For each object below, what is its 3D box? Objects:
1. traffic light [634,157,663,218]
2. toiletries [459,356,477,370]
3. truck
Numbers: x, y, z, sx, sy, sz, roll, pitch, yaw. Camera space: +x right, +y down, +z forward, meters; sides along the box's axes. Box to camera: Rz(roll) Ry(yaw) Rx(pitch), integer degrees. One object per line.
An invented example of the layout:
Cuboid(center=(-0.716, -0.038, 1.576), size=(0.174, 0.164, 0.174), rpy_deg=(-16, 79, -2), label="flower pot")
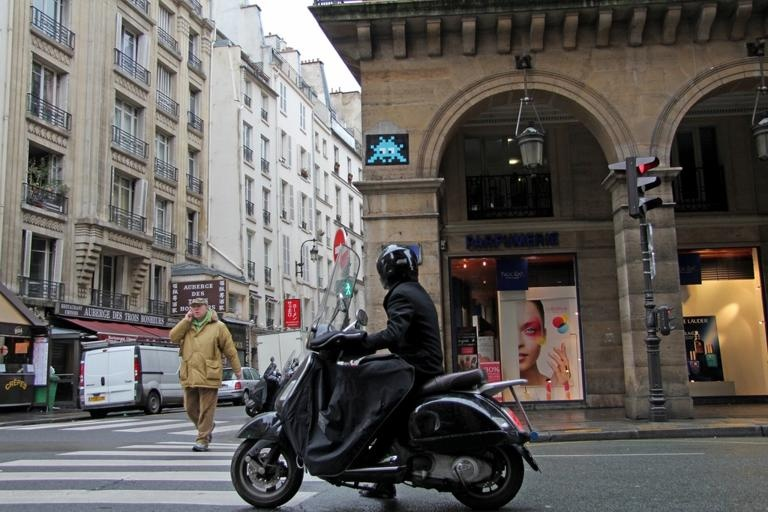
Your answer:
Cuboid(center=(6.354, -1.645, 18.674), size=(0.563, 1.454, 1.180), rpy_deg=(-6, -9, 22), label="traffic light")
Cuboid(center=(2.331, 2.915, 21.500), size=(0.546, 0.518, 0.336), rpy_deg=(0, -12, 0), label="toiletries")
Cuboid(center=(-8.667, 4.133, 28.495), size=(2.715, 2.290, 4.951), rpy_deg=(-5, -6, 22), label="truck")
